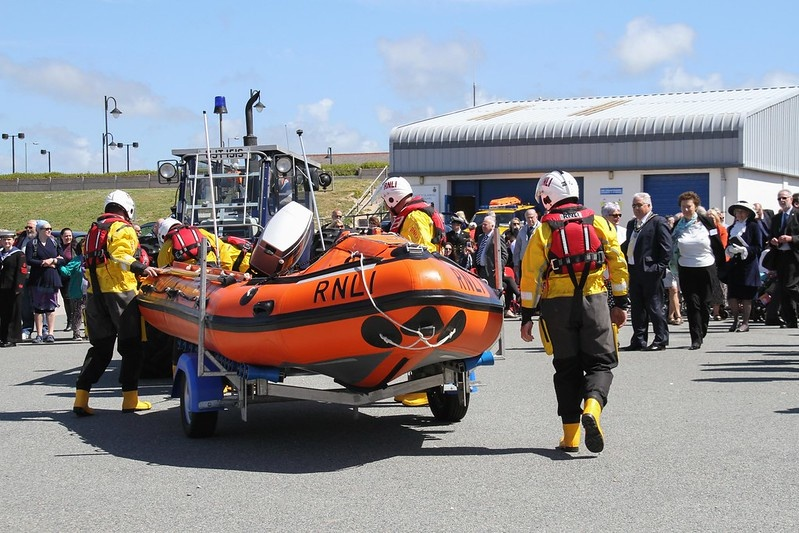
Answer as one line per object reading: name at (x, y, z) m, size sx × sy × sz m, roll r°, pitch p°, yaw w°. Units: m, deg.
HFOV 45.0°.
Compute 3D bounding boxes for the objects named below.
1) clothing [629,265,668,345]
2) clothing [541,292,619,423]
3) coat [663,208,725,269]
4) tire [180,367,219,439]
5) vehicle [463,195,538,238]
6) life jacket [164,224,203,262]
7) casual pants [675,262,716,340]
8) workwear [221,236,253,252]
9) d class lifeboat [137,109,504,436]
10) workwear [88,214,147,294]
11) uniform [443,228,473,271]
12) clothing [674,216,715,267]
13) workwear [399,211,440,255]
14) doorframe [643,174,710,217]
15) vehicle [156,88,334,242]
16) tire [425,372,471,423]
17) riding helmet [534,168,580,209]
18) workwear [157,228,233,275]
clothing at (3.906, 0.573, 15.272) m, size 0.588 × 1.435 × 0.413 m, roll -1°, pitch 12°, yaw 19°
clothing at (1.910, 0.935, 9.975) m, size 0.791 × 1.410 × 0.535 m, roll -6°, pitch -21°, yaw 18°
coat at (4.805, -0.399, 15.630) m, size 0.889 × 0.842 × 0.528 m, roll -5°, pitch 1°, yaw 35°
tire at (-2.197, 1.497, 10.576) m, size 0.240 × 0.610 × 0.606 m, roll 0°, pitch -40°, yaw -24°
vehicle at (3.126, -1.710, 29.379) m, size 1.339 × 1.037 × 2.374 m, roll -2°, pitch 1°, yaw 22°
life jacket at (-2.903, -0.308, 13.130) m, size 0.517 × 0.524 × 0.536 m, roll -19°, pitch 1°, yaw -16°
casual pants at (4.821, 0.563, 15.479) m, size 0.725 × 1.440 × 0.566 m, roll -7°, pitch 8°, yaw -42°
workwear at (-2.349, -0.304, 13.785) m, size 0.292 × 0.080 × 0.204 m, roll 15°, pitch 7°, yaw -10°
d class lifeboat at (-1.101, 0.250, 11.590) m, size 3.149 × 2.665 × 4.914 m, roll 0°, pitch 3°, yaw -32°
workwear at (-3.599, -0.097, 12.064) m, size 0.610 × 1.028 × 1.123 m, roll 1°, pitch -5°, yaw -29°
uniform at (1.281, -0.402, 20.301) m, size 0.519 × 0.851 × 0.213 m, roll 11°, pitch -32°, yaw -26°
clothing at (4.768, -0.373, 15.589) m, size 0.738 × 0.499 × 0.899 m, roll -5°, pitch 37°, yaw 17°
workwear at (0.211, -0.390, 11.228) m, size 0.234 × 0.366 × 0.389 m, roll -5°, pitch 47°, yaw -30°
doorframe at (8.023, -2.063, 27.519) m, size 2.245 × 1.504 × 0.187 m, roll 2°, pitch 3°, yaw 37°
vehicle at (-3.044, -1.515, 16.782) m, size 3.317 × 2.480 × 4.305 m, roll 1°, pitch 7°, yaw 8°
tire at (0.558, 1.477, 10.917) m, size 0.279 × 0.645 × 0.690 m, roll 7°, pitch -6°, yaw -36°
riding helmet at (1.724, -0.825, 10.361) m, size 0.397 × 0.391 × 0.449 m, roll -5°, pitch 14°, yaw -21°
workwear at (-3.005, -0.371, 13.329) m, size 0.846 × 0.423 × 1.051 m, roll -11°, pitch 25°, yaw -23°
